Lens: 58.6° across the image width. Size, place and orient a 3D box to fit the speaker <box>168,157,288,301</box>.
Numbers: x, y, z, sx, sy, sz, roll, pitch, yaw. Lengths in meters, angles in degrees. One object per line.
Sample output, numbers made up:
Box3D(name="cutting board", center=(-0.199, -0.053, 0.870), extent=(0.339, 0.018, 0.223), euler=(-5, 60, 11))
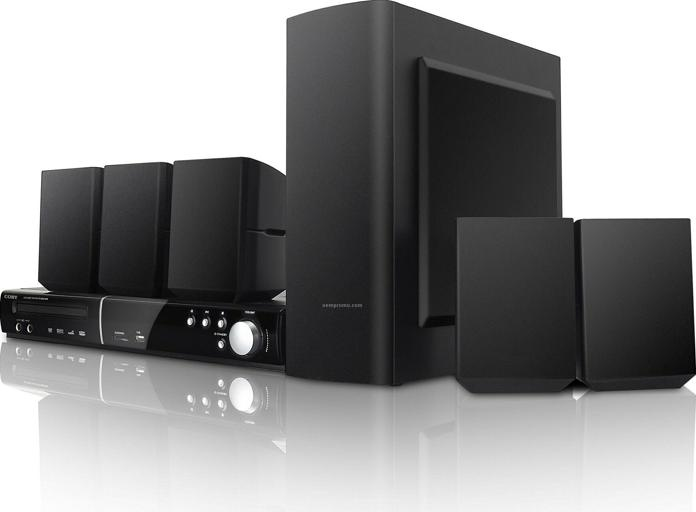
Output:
Box3D(name="speaker", center=(-0.230, -0.049, 1.265), extent=(0.219, 0.282, 0.234), euler=(4, 6, 5))

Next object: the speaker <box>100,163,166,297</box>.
Box3D(name="speaker", center=(-0.445, -0.057, 1.310), extent=(0.165, 0.275, 0.066), euler=(1, 5, 23))

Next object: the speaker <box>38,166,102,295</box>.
Box3D(name="speaker", center=(-0.625, -0.060, 1.407), extent=(0.190, 0.277, 0.073), euler=(2, 5, 27))

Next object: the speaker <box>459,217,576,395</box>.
Box3D(name="speaker", center=(0.280, 0.106, 1.007), extent=(0.215, 0.317, 0.170), euler=(-1, 11, 7))
